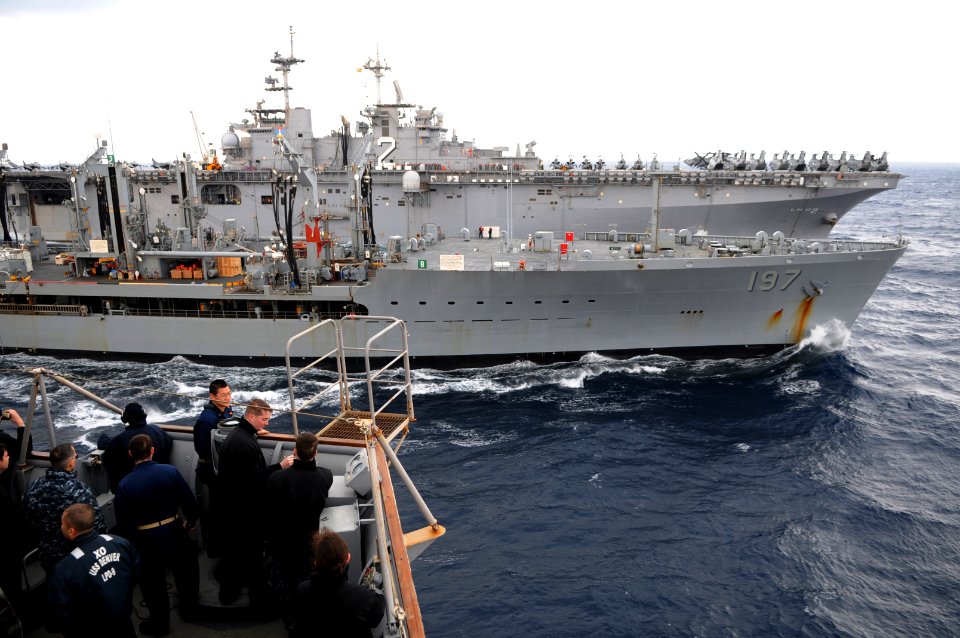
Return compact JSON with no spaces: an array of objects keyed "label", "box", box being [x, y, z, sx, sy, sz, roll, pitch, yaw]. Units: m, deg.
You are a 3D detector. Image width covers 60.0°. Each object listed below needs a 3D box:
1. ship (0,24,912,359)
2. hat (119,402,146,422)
[{"label":"ship","box":[-1.745,-3.109,36.753,44.091,13.850,16.773,-1,6,-1]},{"label":"hat","box":[-6.480,1.765,15.711,0.478,0.378,0.395,7,1,-27]}]
